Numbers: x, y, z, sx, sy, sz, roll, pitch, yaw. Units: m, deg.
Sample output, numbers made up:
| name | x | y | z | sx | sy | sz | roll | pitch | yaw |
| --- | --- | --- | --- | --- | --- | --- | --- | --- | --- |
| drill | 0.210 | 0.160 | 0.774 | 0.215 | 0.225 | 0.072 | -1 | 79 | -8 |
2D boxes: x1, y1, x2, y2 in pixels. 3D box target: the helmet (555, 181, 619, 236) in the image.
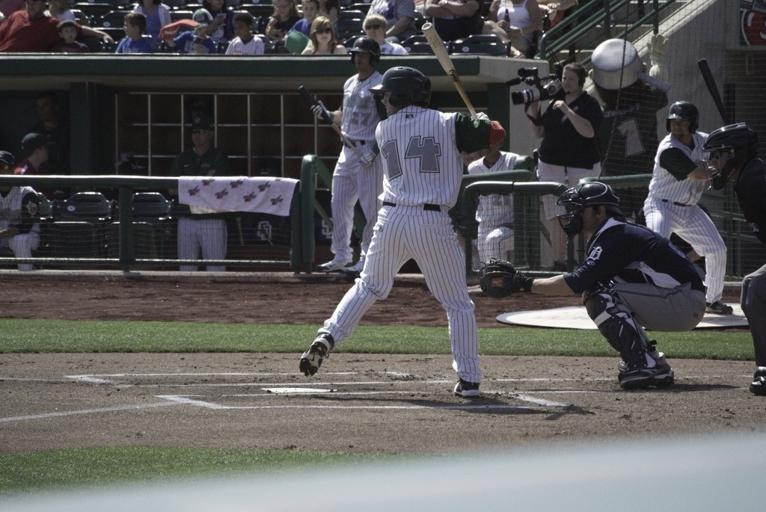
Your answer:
| name | x | y | z | sx | sy | sz | roll | pitch | yaw |
| --- | --- | --- | --- | --- | --- | --- | --- | --- | --- |
| helmet | 2.150 | -0.480 | 15.751 | 0.621 | 0.551 | 0.303 | -1 | 14 | -4 |

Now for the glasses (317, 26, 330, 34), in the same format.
| name | x | y | z | sx | sy | sz | roll | pitch | yaw |
| --- | --- | --- | --- | --- | --- | --- | --- | --- | --- |
| glasses | -0.834 | -3.305 | 22.323 | 0.191 | 0.074 | 0.137 | 0 | 12 | 1 |

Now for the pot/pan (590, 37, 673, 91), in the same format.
| name | x | y | z | sx | sy | sz | roll | pitch | yaw |
| --- | --- | --- | --- | --- | --- | --- | --- | --- | --- |
| pot/pan | 3.578 | -2.830 | 22.072 | 1.238 | 0.535 | 0.751 | -9 | 43 | -20 |

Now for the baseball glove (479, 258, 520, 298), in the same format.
| name | x | y | z | sx | sy | sz | roll | pitch | yaw |
| --- | --- | --- | --- | --- | --- | --- | --- | --- | --- |
| baseball glove | 1.267 | 0.309 | 16.097 | 0.404 | 0.464 | 0.277 | 4 | 21 | 6 |

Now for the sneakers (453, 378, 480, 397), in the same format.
| name | x | y | z | sx | sy | sz | roll | pitch | yaw |
| --- | --- | --- | --- | --- | --- | --- | --- | --- | --- |
| sneakers | 0.859 | 1.311 | 15.306 | 0.265 | 0.192 | 0.183 | 0 | 13 | 2 |

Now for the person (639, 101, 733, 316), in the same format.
| name | x | y | z | sx | sy | sz | roll | pitch | yaw |
| --- | --- | --- | --- | --- | --- | --- | --- | --- | --- |
| person | 3.761 | -0.554 | 18.601 | 1.094 | 2.515 | 1.195 | 2 | 0 | -38 |

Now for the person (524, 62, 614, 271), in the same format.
| name | x | y | z | sx | sy | sz | roll | pitch | yaw |
| --- | --- | --- | --- | --- | --- | --- | --- | --- | --- |
| person | 2.629 | -1.217 | 20.479 | 1.227 | 2.614 | 1.178 | 1 | 1 | 2 |
